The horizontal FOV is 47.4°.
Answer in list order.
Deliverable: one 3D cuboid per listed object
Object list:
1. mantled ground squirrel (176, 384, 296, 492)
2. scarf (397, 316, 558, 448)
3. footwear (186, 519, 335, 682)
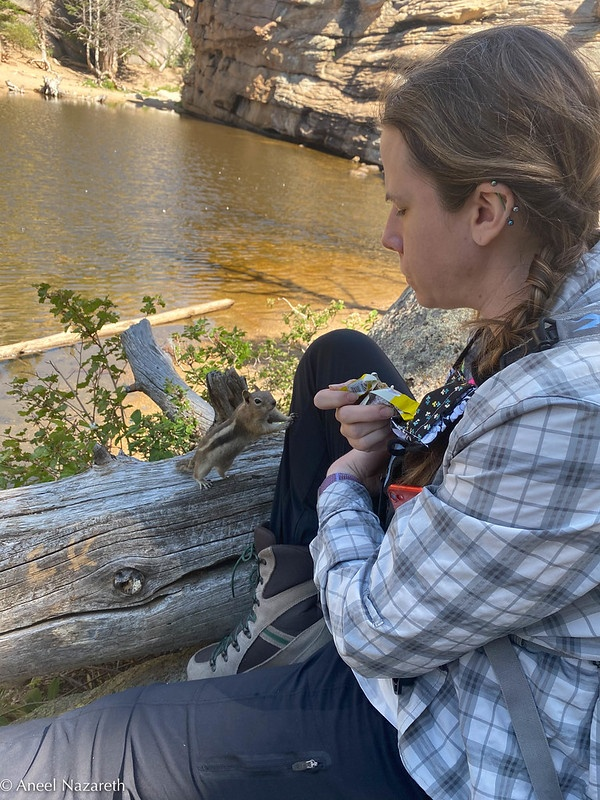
[{"bbox_3d":[-0.262,0.146,2.651,0.250,0.496,0.179,64,16,13],"label":"mantled ground squirrel"},{"bbox_3d":[0.370,0.031,1.492,0.172,0.309,0.104,18,56,-59],"label":"scarf"},{"bbox_3d":[-0.131,0.677,2.155,0.369,0.608,0.201,70,15,13],"label":"footwear"}]
